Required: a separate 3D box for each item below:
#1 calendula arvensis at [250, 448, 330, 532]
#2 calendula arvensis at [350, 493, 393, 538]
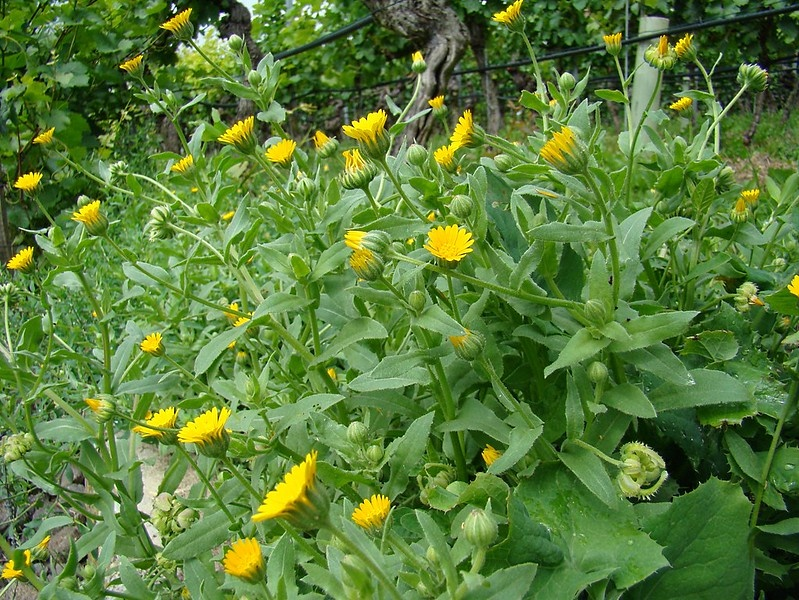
[{"bbox_3d":[-0.194,0.385,1.437,0.131,0.104,0.152,-36,2,30],"label":"calendula arvensis"},{"bbox_3d":[-0.058,0.467,1.628,0.076,0.082,0.108,-4,4,1],"label":"calendula arvensis"}]
